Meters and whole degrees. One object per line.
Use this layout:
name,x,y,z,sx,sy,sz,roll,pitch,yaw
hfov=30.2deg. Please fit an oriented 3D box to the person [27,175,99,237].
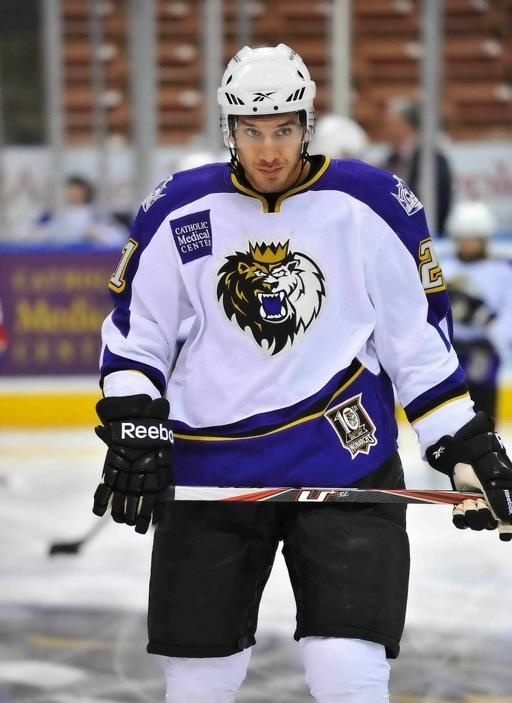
person,-1.642,-1.246,8.251,0.511,0.687,1.398,-1,1,-9

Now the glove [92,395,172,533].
glove,-0.187,0.169,1.462,0.121,0.204,0.187,-1,2,-5

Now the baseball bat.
baseball bat,0.131,0.244,1.454,0.509,0.091,0.137,-1,2,-5
